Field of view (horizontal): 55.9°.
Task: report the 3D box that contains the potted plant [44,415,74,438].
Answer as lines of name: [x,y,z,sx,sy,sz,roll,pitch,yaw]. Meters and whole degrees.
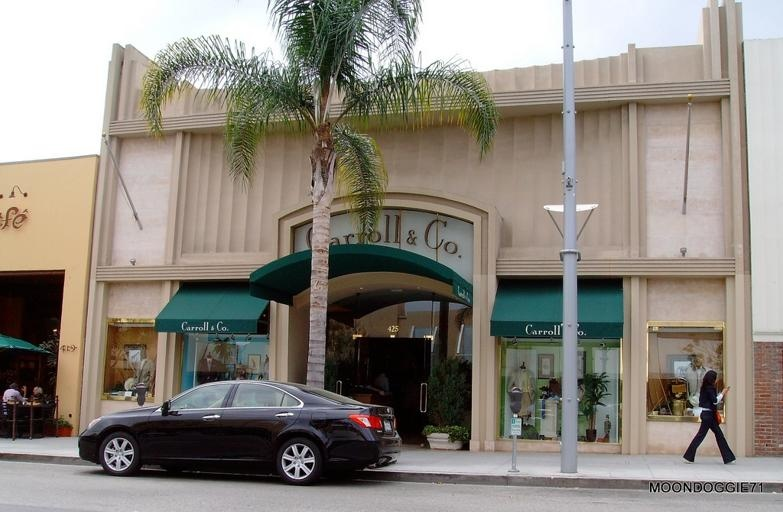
potted plant: [-11.356,5.939,25.383,0.823,0.580,0.688,4,-19,-13]

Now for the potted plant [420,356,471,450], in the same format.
potted plant: [1.790,4.570,23.062,1.509,2.805,1.221,1,-10,-4]

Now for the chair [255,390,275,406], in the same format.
chair: [-2.844,3.306,17.091,0.489,0.467,0.265,-1,-31,1]
